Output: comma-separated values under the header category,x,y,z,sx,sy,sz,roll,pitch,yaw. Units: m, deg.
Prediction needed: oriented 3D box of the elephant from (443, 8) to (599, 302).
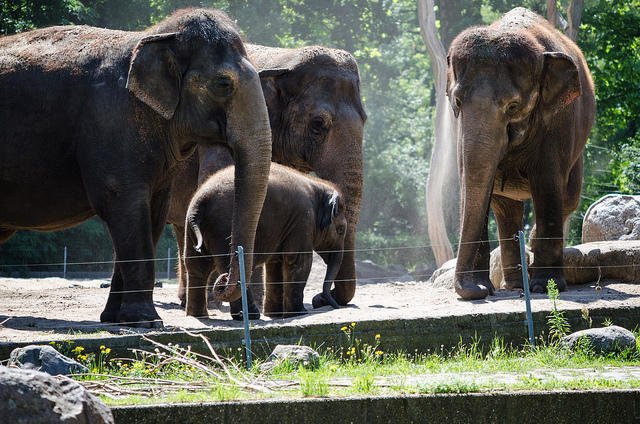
category,x,y,z,sx,sy,sz,roll,pitch,yaw
elephant,2.608,-0.890,12.333,1.727,4.081,2.641,-1,-5,15

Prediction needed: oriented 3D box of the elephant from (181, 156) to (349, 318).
category,x,y,z,sx,sy,sz,roll,pitch,yaw
elephant,-0.566,0.392,12.214,2.572,1.964,1.224,5,-3,-40
